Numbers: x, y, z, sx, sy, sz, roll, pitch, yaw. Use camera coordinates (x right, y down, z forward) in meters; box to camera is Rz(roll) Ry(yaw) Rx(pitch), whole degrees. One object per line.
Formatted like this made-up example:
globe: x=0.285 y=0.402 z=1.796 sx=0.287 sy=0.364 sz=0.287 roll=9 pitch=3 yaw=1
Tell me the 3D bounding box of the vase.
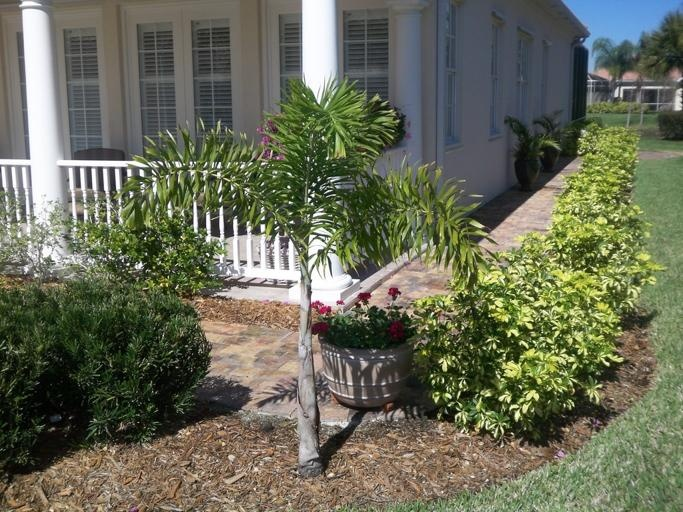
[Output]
vase: x=0.218 y=0.957 z=4.354 sx=0.698 sy=0.493 sz=0.687 roll=-11 pitch=-4 yaw=22
